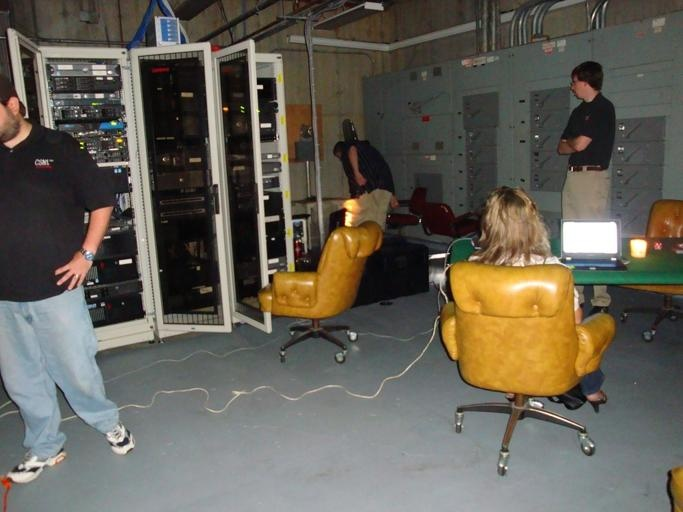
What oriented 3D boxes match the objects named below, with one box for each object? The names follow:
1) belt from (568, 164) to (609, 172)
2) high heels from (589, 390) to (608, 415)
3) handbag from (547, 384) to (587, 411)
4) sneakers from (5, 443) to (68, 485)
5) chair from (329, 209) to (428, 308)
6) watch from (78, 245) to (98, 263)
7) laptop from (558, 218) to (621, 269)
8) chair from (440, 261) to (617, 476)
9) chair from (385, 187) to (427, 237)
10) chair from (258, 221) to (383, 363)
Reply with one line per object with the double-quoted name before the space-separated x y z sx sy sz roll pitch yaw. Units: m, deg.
"belt" 2.205 -0.792 4.996 0.310 0.061 0.099 4 16 25
"high heels" 1.679 0.956 3.687 0.114 0.215 0.089 -24 41 -6
"handbag" 1.474 0.914 3.646 0.231 0.231 0.187 2 1 20
"sneakers" -1.865 1.281 3.413 0.123 0.147 0.313 8 8 37
"chair" 0.412 0.213 6.059 0.986 0.496 1.060 -5 -12 -7
"watch" -1.454 -0.009 3.177 0.075 0.082 0.051 -10 16 -25
"laptop" 1.731 -0.089 3.880 0.461 0.311 0.357 -1 7 12
"chair" 1.136 0.552 3.436 1.035 1.272 1.000 -4 16 2
"chair" 0.939 -0.636 7.679 0.660 0.839 0.670 0 12 -2
"chair" -0.210 0.259 4.724 1.070 1.080 0.887 -2 9 2
